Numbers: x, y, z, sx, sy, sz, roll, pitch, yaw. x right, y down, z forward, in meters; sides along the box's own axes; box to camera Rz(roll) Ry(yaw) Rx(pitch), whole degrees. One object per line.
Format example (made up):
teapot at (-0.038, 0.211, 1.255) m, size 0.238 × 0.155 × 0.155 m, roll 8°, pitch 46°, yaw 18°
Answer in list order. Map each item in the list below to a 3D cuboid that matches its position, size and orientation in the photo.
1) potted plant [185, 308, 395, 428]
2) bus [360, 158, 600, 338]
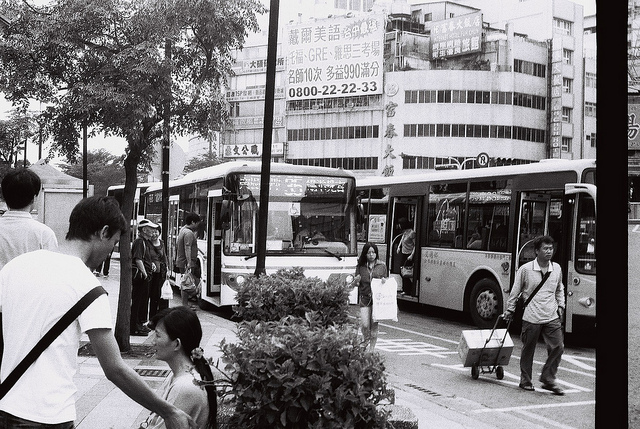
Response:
potted plant at (-0.138, 1.067, 4.132) m, size 0.885 × 0.619 × 0.945 m, roll -2°, pitch 8°, yaw -23°
bus at (3.736, 0.936, 16.814) m, size 2.204 × 3.759 × 11.011 m, roll 4°, pitch -4°, yaw -19°
